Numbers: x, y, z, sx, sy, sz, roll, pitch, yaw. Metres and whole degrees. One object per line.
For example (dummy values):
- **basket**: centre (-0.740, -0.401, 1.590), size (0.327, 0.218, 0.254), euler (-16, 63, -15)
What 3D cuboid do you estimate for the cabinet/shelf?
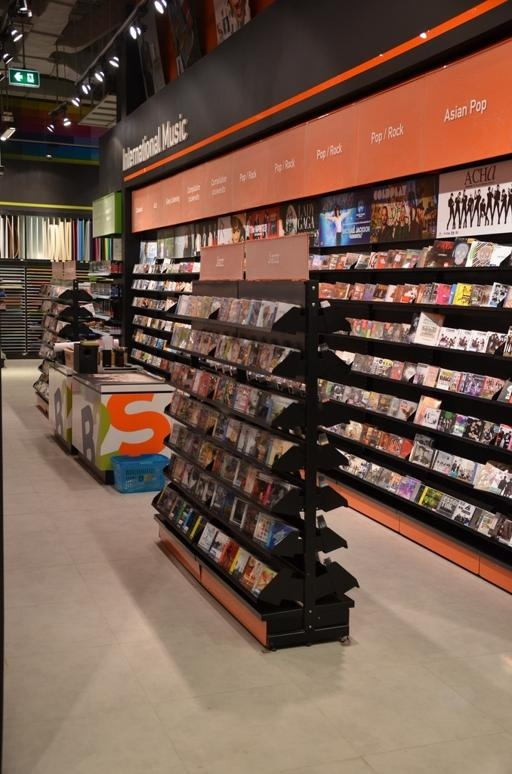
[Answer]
- **cabinet/shelf**: centre (0.176, 0.419, 3.554), size (1.046, 1.070, 3.013), euler (-4, 11, -29)
